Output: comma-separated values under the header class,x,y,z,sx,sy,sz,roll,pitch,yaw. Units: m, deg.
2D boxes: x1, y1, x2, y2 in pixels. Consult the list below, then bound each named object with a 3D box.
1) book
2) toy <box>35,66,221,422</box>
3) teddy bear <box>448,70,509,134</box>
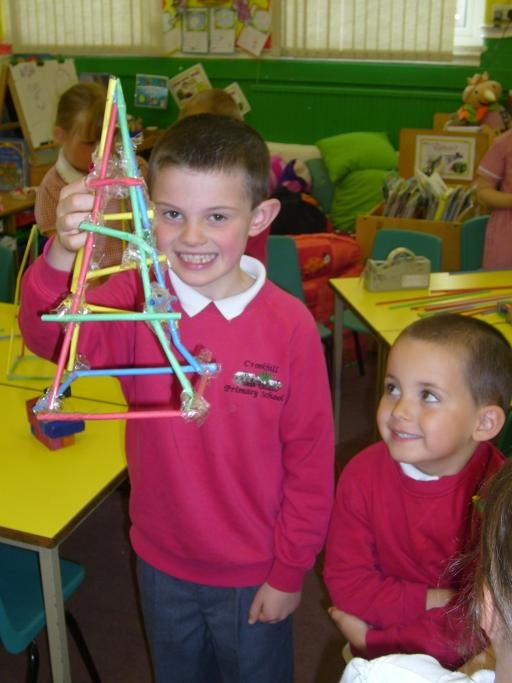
class,x,y,z,sx,sy,sz,roll,pitch,yaw
book,0.934,-0.805,3.379,0.402,0.166,0.376,0,24,-6
toy,-0.121,-0.068,0.513,0.179,0.259,0.188,-3,-2,3
teddy bear,1.409,-1.522,3.842,0.394,0.380,0.359,12,23,32
